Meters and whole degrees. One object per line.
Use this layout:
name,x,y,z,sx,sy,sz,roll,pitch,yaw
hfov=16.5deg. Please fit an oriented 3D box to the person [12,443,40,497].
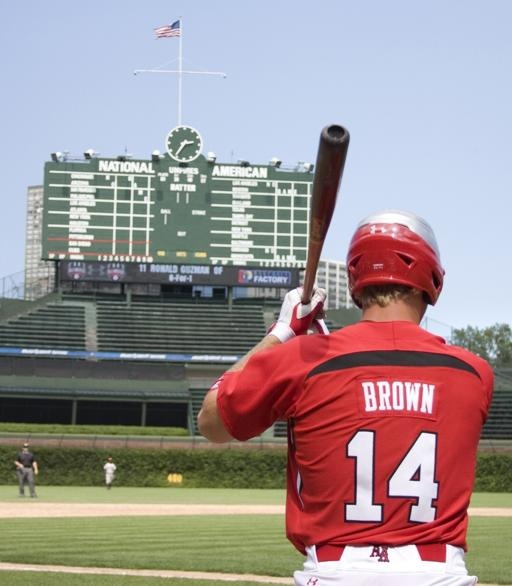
person,-6.613,5.216,51.561,0.846,1.822,0.728,-4,3,-26

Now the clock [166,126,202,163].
clock,-2.649,-5.468,65.486,1.426,1.341,0.095,5,10,13
